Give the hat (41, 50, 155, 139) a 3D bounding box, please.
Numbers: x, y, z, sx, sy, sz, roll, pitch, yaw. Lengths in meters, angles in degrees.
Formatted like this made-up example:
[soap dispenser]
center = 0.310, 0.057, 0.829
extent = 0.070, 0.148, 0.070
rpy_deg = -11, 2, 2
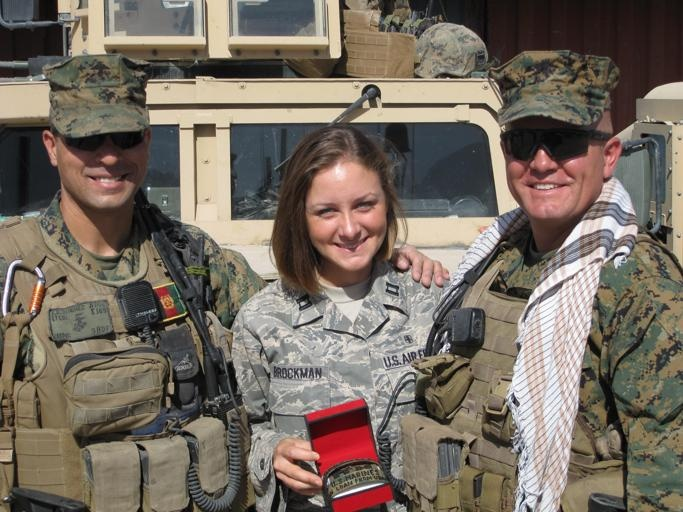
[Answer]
[hat]
center = -1.208, -0.809, 5.176
extent = 0.385, 0.301, 0.481
rpy_deg = -2, 2, -17
